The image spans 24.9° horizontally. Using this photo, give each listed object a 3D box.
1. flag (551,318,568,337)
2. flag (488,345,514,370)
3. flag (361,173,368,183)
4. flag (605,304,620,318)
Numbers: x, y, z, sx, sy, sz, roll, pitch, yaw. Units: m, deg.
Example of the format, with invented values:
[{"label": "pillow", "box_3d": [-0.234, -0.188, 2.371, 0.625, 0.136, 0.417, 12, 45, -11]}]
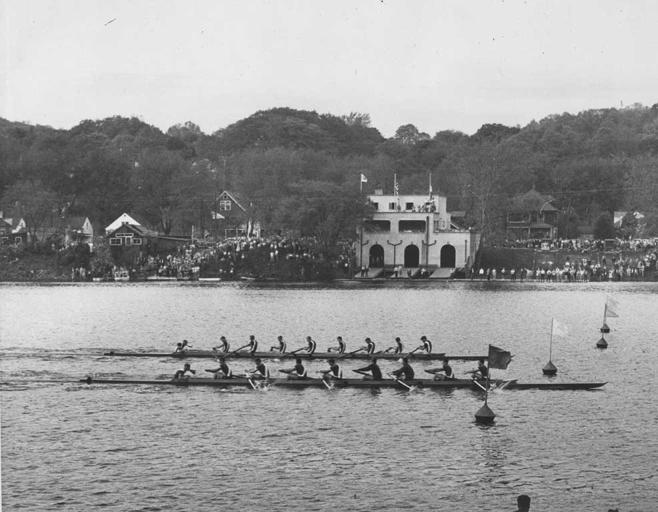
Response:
[{"label": "flag", "box_3d": [23.375, 6.912, 150.512, 1.955, 2.057, 0.231, 0, 3, -7]}, {"label": "flag", "box_3d": [15.243, 8.708, 131.577, 2.241, 3.172, 0.424, 2, -15, 1]}, {"label": "flag", "box_3d": [5.885, -12.589, 238.737, 1.421, 0.772, 4.129, 10, -2, 3]}, {"label": "flag", "box_3d": [28.065, 5.437, 146.441, 1.650, 1.676, 2.586, -2, 3, 7]}]
